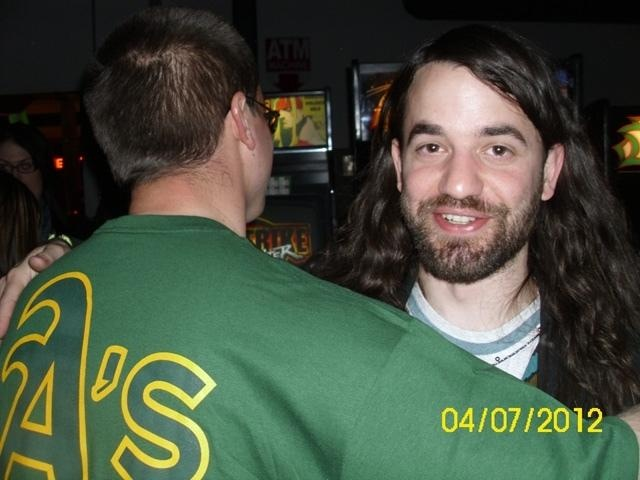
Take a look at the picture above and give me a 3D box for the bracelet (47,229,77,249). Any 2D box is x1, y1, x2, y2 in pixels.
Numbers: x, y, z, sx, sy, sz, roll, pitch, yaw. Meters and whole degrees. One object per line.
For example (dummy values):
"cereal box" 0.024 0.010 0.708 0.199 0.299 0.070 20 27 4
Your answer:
"bracelet" -1.091 -0.005 2.712 0.078 0.040 0.108 3 -3 4

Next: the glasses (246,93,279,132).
"glasses" -0.181 -0.391 1.934 0.110 0.033 0.111 27 1 17
